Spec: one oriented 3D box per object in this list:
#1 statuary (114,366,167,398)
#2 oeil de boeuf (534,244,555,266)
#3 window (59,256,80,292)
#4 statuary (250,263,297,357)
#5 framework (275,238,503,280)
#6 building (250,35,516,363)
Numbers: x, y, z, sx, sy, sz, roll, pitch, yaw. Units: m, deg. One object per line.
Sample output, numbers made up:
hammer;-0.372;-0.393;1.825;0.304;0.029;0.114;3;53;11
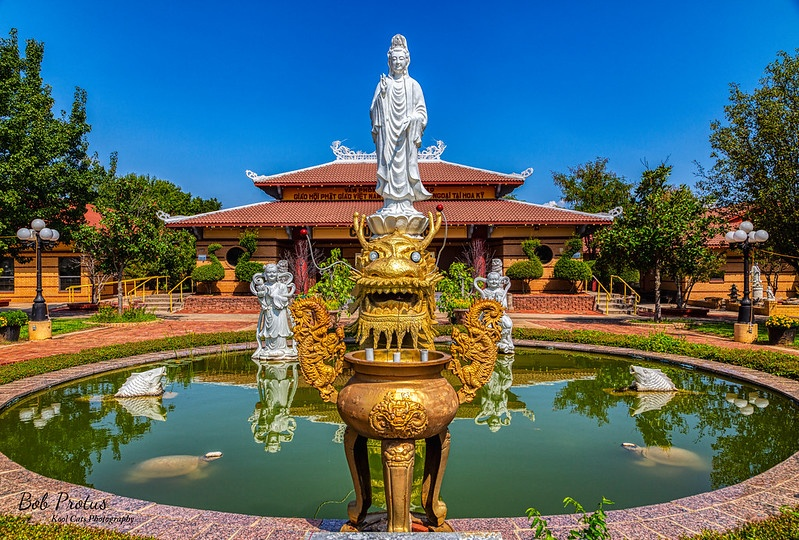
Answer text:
statuary;-5.199;2.344;12.271;1.306;0.618;0.438;-2;1;-10
oeil de boeuf;7.032;-0.798;28.060;0.903;0.977;0.413;-1;-1;23
window;-17.259;0.197;30.475;1.104;2.068;0.171;1;32;-27
statuary;-3.130;1.013;14.658;1.063;2.498;0.661;0;-1;-14
framework;-1.814;-0.475;28.926;8.082;1.093;1.693;-8;24;-42
building;-0.082;-2.706;18.149;3.610;8.737;3.873;-3;9;-30
